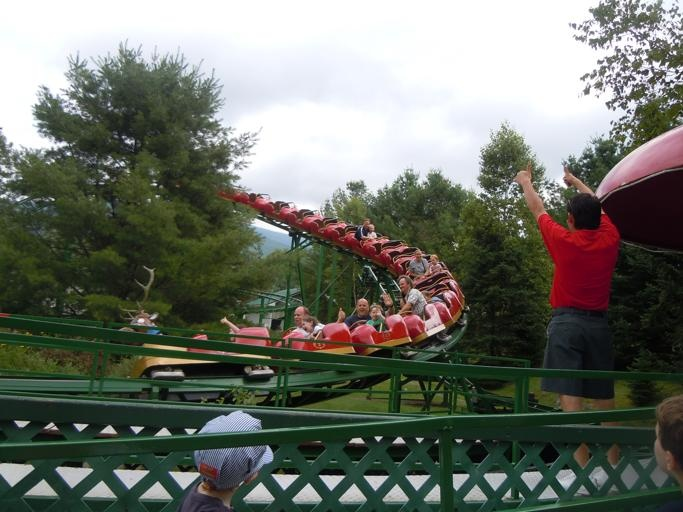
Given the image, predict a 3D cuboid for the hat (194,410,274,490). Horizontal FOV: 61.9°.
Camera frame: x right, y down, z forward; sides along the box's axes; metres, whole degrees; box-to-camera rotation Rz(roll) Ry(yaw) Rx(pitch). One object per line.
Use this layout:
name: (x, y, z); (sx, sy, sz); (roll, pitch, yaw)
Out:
hat: (-0.529, 0.918, 2.719); (0.310, 0.197, 0.423); (19, 8, 30)

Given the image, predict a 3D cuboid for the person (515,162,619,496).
person: (1.746, 0.402, 4.350); (0.724, 2.518, 0.680); (3, -13, 21)
